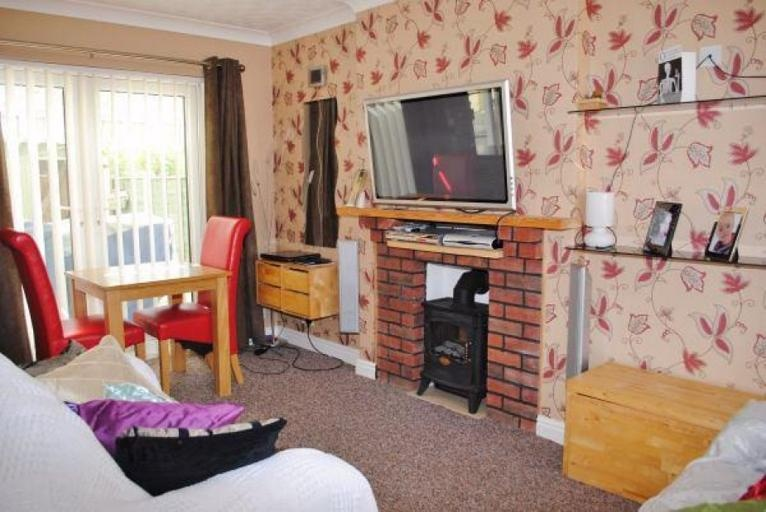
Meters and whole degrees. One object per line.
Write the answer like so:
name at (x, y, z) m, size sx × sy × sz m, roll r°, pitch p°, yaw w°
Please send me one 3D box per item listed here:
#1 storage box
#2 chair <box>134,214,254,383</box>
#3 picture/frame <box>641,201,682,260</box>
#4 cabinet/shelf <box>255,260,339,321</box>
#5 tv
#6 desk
storage box at (1.580, 0.748, 3.222) m, size 1.171 × 0.689 × 0.612 m, roll 9°, pitch 4°, yaw 42°
chair at (-1.570, 0.375, 4.579) m, size 0.940 × 1.271 × 0.975 m, roll 3°, pitch 8°, yaw 28°
picture/frame at (1.592, -0.157, 3.209) m, size 0.166 × 0.283 × 0.289 m, roll 6°, pitch 15°, yaw 25°
cabinet/shelf at (-0.769, 0.280, 5.179) m, size 0.832 × 0.415 × 0.431 m, roll 8°, pitch 10°, yaw 42°
tv at (0.360, -0.735, 3.973) m, size 1.331 × 0.817 × 0.094 m, roll -10°, pitch 8°, yaw -32°
desk at (-1.494, 0.656, 4.372) m, size 0.985 × 0.866 × 0.729 m, roll -7°, pitch -15°, yaw 6°
